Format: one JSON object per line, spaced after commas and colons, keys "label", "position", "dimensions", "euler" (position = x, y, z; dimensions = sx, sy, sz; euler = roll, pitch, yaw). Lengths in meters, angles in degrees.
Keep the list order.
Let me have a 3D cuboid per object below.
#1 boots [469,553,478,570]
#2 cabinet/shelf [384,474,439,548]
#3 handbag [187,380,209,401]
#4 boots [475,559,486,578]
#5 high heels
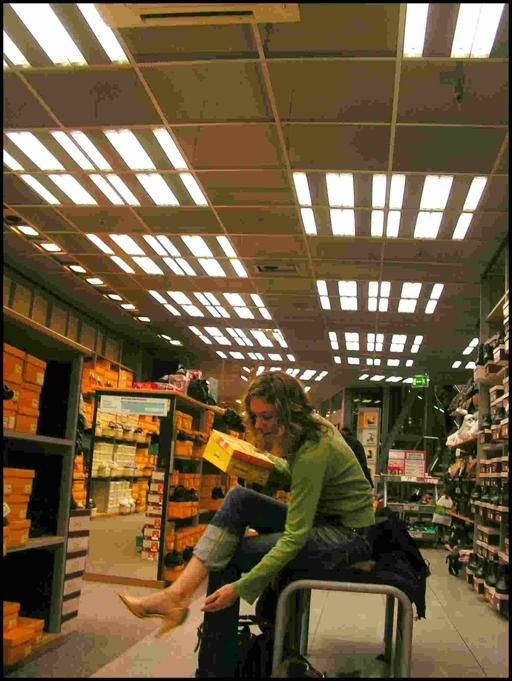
{"label": "boots", "position": [1.669, 1.679, 3.507], "dimensions": [0.054, 0.118, 0.128], "euler": [-3, -38, 18]}
{"label": "cabinet/shelf", "position": [1.920, 2.090, 5.744], "dimensions": [0.733, 0.762, 0.858], "euler": [1, -16, 15]}
{"label": "handbag", "position": [-0.457, 0.390, 3.610], "dimensions": [0.041, 0.158, 0.177], "euler": [7, -8, 44]}
{"label": "boots", "position": [1.641, 1.644, 3.336], "dimensions": [0.074, 0.173, 0.074], "euler": [4, -32, 20]}
{"label": "high heels", "position": [-0.262, 0.712, 1.203], "dimensions": [0.167, 0.139, 0.213], "euler": [6, -15, -5]}
